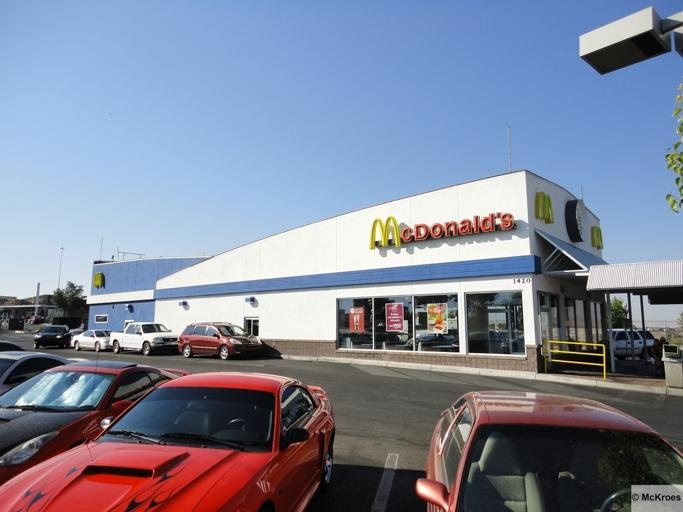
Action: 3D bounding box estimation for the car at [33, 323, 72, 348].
[{"bbox_3d":[-19.677,5.530,33.227,1.289,1.131,2.387,1,-13,-13],"label":"car"}]

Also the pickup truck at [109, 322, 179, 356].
[{"bbox_3d":[-11.309,4.766,27.632,4.325,1.631,1.878,-8,-9,42],"label":"pickup truck"}]

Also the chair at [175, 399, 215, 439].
[{"bbox_3d":[-1.639,1.813,5.375,0.316,0.263,0.455,1,10,-2],"label":"chair"}]

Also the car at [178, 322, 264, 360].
[{"bbox_3d":[-6.313,4.368,24.721,3.783,1.597,1.985,-8,-12,32],"label":"car"}]

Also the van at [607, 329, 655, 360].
[{"bbox_3d":[15.085,4.582,25.072,1.746,1.871,8.853,-2,-4,31],"label":"van"}]
